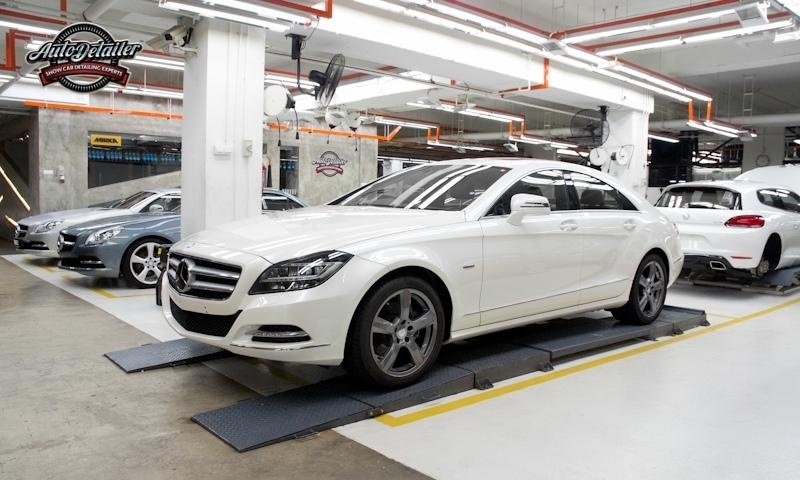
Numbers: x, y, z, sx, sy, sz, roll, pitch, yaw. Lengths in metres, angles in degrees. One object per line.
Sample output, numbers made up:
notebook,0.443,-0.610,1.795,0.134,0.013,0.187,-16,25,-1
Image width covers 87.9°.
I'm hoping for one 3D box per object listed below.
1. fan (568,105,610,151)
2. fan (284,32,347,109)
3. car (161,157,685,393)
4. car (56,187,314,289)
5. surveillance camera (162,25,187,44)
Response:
fan,5.369,-3.143,11.931,1.180,0.991,0.603,-4,11,-27
fan,-1.625,-3.152,7.975,1.065,1.119,0.994,-7,9,-38
car,0.603,0.261,4.888,5.498,1.476,2.390,1,0,-29
car,-4.113,-0.128,8.935,5.114,1.321,2.002,1,0,-28
surveillance camera,-3.474,-3.122,6.416,0.376,0.239,0.167,-9,19,5
